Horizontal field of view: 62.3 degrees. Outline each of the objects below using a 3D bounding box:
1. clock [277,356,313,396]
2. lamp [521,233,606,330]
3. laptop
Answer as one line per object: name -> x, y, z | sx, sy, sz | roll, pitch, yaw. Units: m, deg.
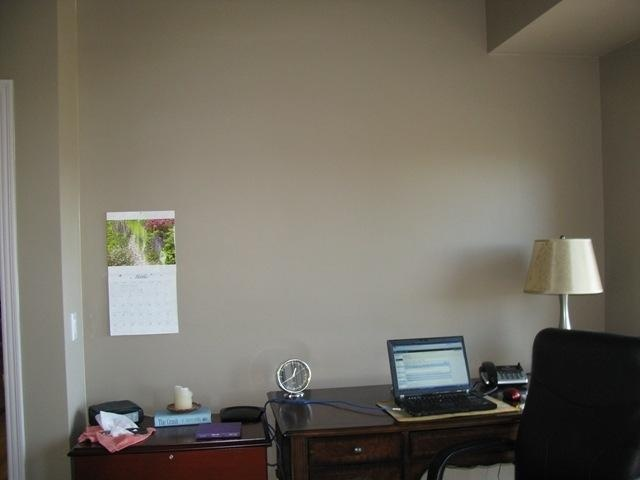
clock -> -0.162, 0.821, 3.197 | 0.192, 0.247, 0.072 | 2, -10, -20
lamp -> 1.452, 0.245, 3.322 | 0.492, 0.681, 0.521 | -1, -2, -22
laptop -> 0.651, 0.717, 2.856 | 0.554, 0.336, 0.521 | -1, -3, -25
